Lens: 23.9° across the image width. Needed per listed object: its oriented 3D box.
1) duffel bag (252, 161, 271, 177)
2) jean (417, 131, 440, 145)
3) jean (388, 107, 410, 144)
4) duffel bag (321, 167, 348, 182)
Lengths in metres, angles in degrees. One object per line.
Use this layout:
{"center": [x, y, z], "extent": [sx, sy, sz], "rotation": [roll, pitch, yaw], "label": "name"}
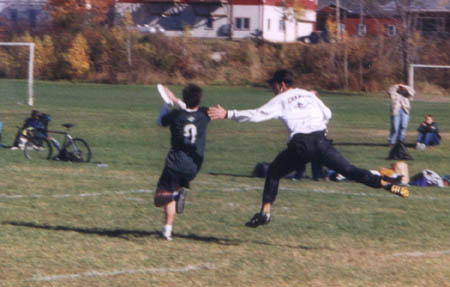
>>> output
{"center": [2.574, 1.858, 71.192], "extent": [1.033, 0.915, 1.039], "rotation": [29, 12, 27], "label": "duffel bag"}
{"center": [14.818, -0.357, 76.266], "extent": [1.539, 0.980, 0.492], "rotation": [0, 6, -21], "label": "jean"}
{"center": [12.528, -1.206, 75.539], "extent": [1.249, 2.713, 1.532], "rotation": [4, 6, 8], "label": "jean"}
{"center": [7.322, 2.180, 71.100], "extent": [1.485, 0.891, 0.350], "rotation": [3, 6, 2], "label": "duffel bag"}
